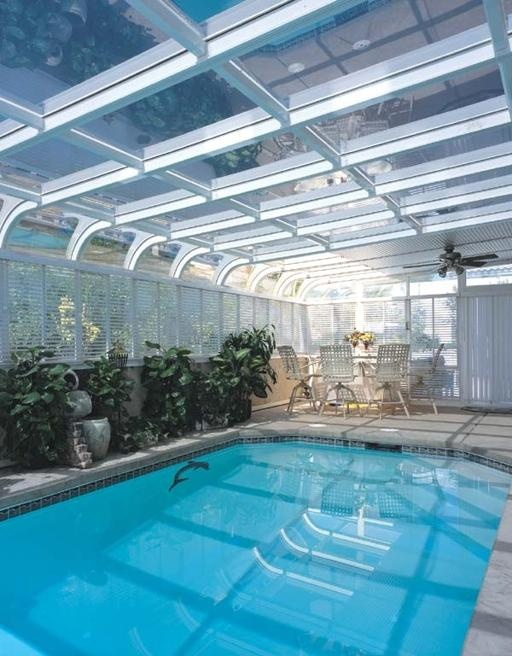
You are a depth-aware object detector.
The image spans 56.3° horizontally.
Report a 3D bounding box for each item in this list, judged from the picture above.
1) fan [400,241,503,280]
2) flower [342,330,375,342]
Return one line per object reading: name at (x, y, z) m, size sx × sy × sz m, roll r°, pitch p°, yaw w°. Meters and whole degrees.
fan at (3.483, -1.169, 8.238) m, size 1.075 × 0.278 × 0.940 m, roll -3°, pitch -2°, yaw 18°
flower at (2.381, 0.212, 10.836) m, size 0.512 × 0.211 × 0.379 m, roll 0°, pitch -1°, yaw 0°
